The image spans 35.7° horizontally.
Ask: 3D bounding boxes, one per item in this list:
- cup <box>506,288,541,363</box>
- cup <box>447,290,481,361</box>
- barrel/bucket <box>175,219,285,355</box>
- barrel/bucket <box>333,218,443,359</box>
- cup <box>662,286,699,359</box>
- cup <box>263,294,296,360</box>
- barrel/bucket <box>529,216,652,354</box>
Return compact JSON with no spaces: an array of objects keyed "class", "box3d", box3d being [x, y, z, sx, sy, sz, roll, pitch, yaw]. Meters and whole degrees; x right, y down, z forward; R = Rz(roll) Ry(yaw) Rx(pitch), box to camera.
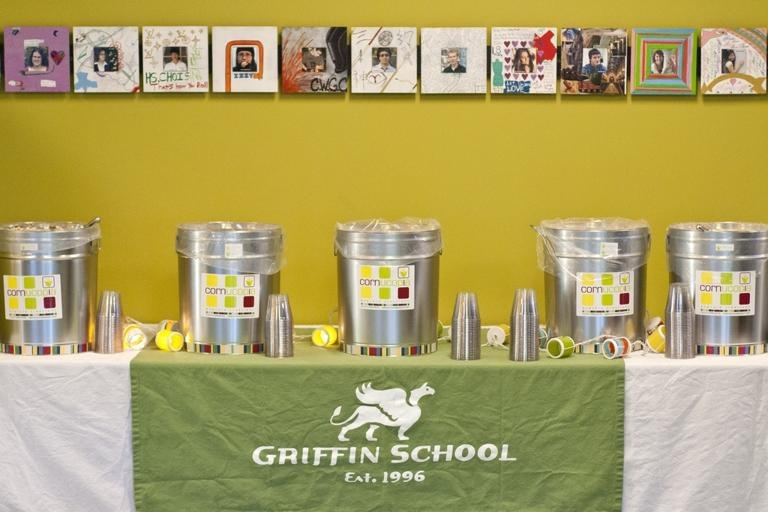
[{"class":"cup","box3d":[0.506,0.248,4.261,0.109,0.259,0.150,-1,-2,6]},{"class":"cup","box3d":[0.291,0.253,4.226,0.101,0.237,0.055,-1,-2,0]},{"class":"barrel/bucket","box3d":[-0.561,0.110,4.269,0.492,0.433,0.445,1,6,-1]},{"class":"barrel/bucket","box3d":[0.017,0.128,4.230,0.491,0.440,0.455,-1,3,0]},{"class":"cup","box3d":[1.064,0.231,4.235,0.108,0.270,0.074,-1,-2,12]},{"class":"cup","box3d":[-0.391,0.250,4.247,0.122,0.225,0.072,-1,-2,15]},{"class":"barrel/bucket","box3d":[0.856,0.106,4.312,0.533,0.465,0.407,0,3,18]}]
